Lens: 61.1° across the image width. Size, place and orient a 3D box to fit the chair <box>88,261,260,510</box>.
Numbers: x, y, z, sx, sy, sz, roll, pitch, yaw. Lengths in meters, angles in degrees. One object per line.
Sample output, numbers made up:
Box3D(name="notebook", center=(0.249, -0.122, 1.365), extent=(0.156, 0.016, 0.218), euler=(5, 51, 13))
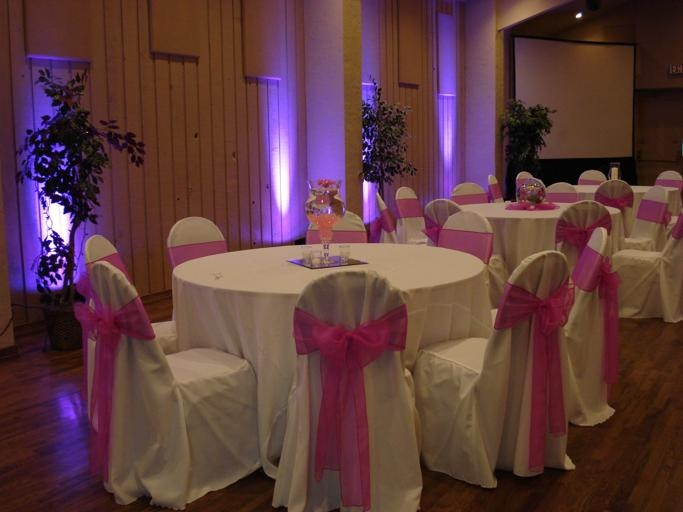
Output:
Box3D(name="chair", center=(-1.008, 0.473, 3.432), extent=(0.977, 1.614, 0.971), euler=(-10, 16, -40))

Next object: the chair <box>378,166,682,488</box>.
Box3D(name="chair", center=(1.041, 0.535, 3.252), extent=(1.345, 1.218, 0.589), euler=(-13, 12, -33))
